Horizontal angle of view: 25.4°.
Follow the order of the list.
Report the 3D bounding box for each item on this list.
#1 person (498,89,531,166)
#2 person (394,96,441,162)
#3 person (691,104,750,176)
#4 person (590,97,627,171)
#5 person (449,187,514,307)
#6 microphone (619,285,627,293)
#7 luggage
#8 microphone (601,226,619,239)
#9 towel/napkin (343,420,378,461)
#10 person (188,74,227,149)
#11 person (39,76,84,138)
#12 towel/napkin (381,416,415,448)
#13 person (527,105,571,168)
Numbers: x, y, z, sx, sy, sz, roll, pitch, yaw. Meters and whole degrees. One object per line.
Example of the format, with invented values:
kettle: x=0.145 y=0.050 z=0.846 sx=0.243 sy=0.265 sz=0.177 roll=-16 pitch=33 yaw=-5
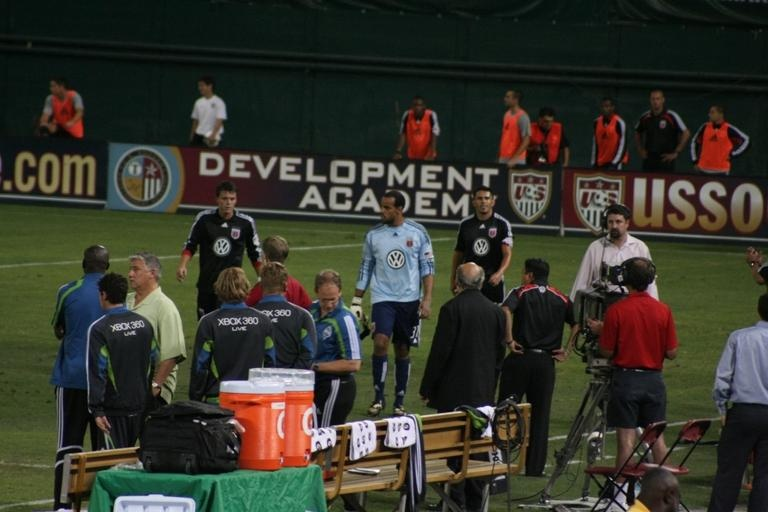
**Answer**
person: x=2.834 y=-2.793 z=38.390 sx=0.773 sy=1.723 sz=0.726 roll=-1 pitch=-2 yaw=15
person: x=0.617 y=-2.726 z=39.671 sx=0.939 sy=1.716 sz=0.847 roll=-1 pitch=22 yaw=-6
person: x=7.733 y=-2.562 z=38.893 sx=1.284 sy=1.517 sz=0.740 roll=-1 pitch=-2 yaw=14
person: x=5.143 y=-2.738 z=39.197 sx=0.823 sy=1.566 sz=0.571 roll=-1 pitch=-2 yaw=20
person: x=1.725 y=-0.196 z=30.307 sx=0.779 sy=2.240 sz=0.934 roll=1 pitch=2 yaw=0
microphone: x=3.876 y=0.554 z=27.594 sx=0.108 sy=0.060 sz=0.114 roll=0 pitch=-7 yaw=6
luggage: x=-3.012 y=2.657 z=24.667 sx=1.182 sy=0.852 sz=1.010 roll=2 pitch=-8 yaw=11
microphone: x=3.783 y=-0.356 z=28.443 sx=0.195 sy=0.158 sz=0.267 roll=1 pitch=-2 yaw=13
towel/napkin: x=-0.510 y=2.809 z=25.912 sx=0.286 sy=0.546 sz=0.570 roll=1 pitch=4 yaw=44
person: x=-4.505 y=-2.786 z=39.688 sx=0.948 sy=2.437 sz=0.567 roll=5 pitch=3 yaw=27
person: x=-7.970 y=-3.371 z=39.655 sx=0.946 sy=1.370 sz=0.507 roll=0 pitch=-2 yaw=-21
towel/napkin: x=0.101 y=2.697 z=26.054 sx=0.441 sy=0.435 sz=0.167 roll=3 pitch=-7 yaw=-20
person: x=3.623 y=-2.163 z=39.025 sx=0.996 sy=2.280 sz=0.660 roll=2 pitch=5 yaw=15
